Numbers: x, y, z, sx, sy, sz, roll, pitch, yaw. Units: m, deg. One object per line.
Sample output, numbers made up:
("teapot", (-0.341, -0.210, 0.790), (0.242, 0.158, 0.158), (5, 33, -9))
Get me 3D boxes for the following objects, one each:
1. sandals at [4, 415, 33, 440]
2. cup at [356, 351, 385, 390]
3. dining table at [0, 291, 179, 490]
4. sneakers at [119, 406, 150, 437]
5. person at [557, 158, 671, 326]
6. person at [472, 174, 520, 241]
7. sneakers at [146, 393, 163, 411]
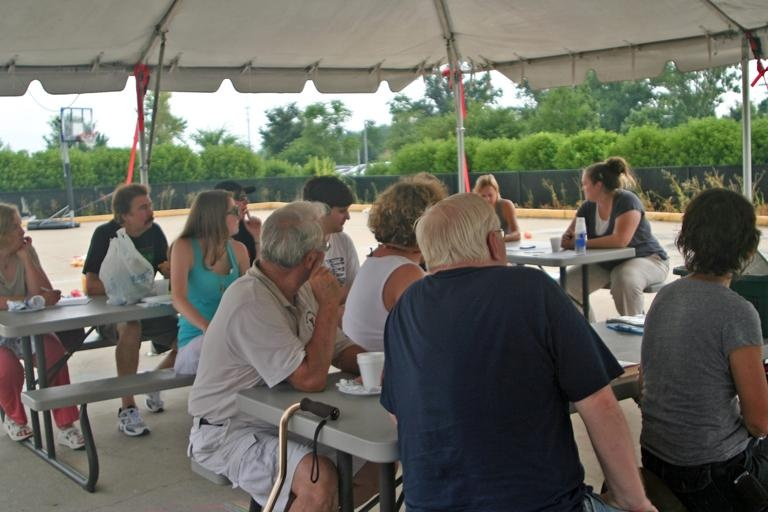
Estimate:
("sandals", (-2.871, 1.361, 5.837), (0.281, 0.135, 0.114), (4, 2, 32))
("cup", (-0.063, 0.602, 3.893), (0.174, 0.201, 0.177), (0, 3, 0))
("dining table", (-2.113, 0.854, 5.181), (1.282, 0.641, 1.328), (3, 4, 39))
("sneakers", (-1.968, 1.305, 5.797), (0.139, 0.150, 0.319), (1, 0, -39))
("person", (2.235, 0.043, 7.362), (1.115, 1.939, 0.996), (3, -4, -34))
("person", (1.204, -0.507, 8.291), (0.598, 0.768, 0.593), (-11, 10, -7))
("sneakers", (-1.913, 1.226, 6.168), (0.088, 0.166, 0.237), (-1, 7, -21))
